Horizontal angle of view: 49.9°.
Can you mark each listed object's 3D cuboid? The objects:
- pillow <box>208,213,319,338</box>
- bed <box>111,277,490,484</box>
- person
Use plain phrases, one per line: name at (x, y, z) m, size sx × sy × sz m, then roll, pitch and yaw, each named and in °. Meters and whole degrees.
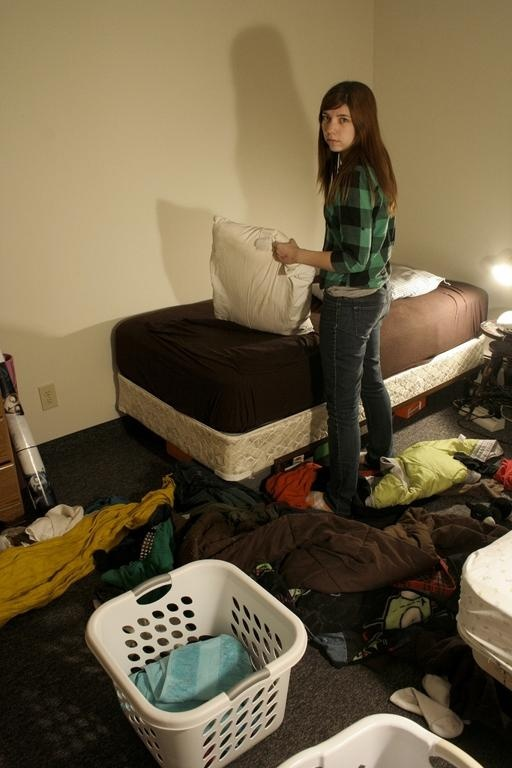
pillow at (0.009, -0.410, 2.175) m, size 0.559 × 0.530 × 0.218 m, roll 22°, pitch 29°, yaw 34°
bed at (0.302, -0.140, 2.310) m, size 1.331 × 0.410 × 0.766 m, roll -17°, pitch 25°, yaw -35°
person at (0.261, -0.200, 1.716) m, size 0.355 × 1.308 × 0.254 m, roll -3°, pitch 16°, yaw 12°
